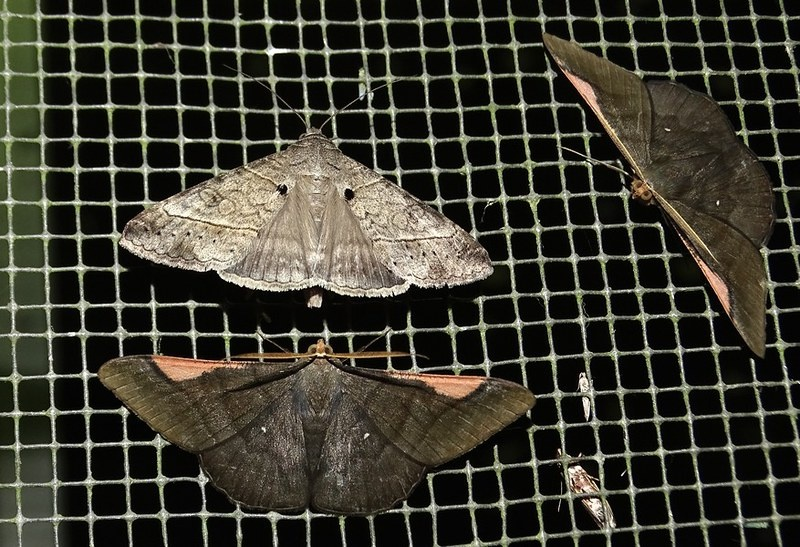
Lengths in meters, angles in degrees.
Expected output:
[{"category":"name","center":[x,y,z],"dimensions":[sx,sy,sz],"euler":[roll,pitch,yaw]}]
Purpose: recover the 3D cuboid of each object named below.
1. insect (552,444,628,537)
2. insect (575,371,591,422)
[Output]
[{"category":"insect","center":[1.245,1.437,7.690],"dimensions":[0.378,0.148,0.537],"euler":[-33,84,-18]},{"category":"insect","center":[1.244,0.817,7.756],"dimensions":[0.066,0.106,0.336],"euler":[-1,78,-9]}]
